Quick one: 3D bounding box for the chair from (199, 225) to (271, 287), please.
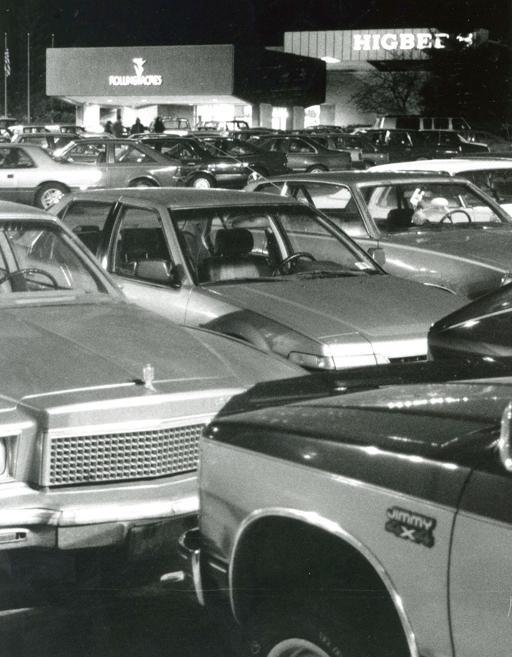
[{"bbox_3d":[-0.194,-0.494,5.982,0.567,0.505,0.416,-1,-4,-32],"label":"chair"}]
